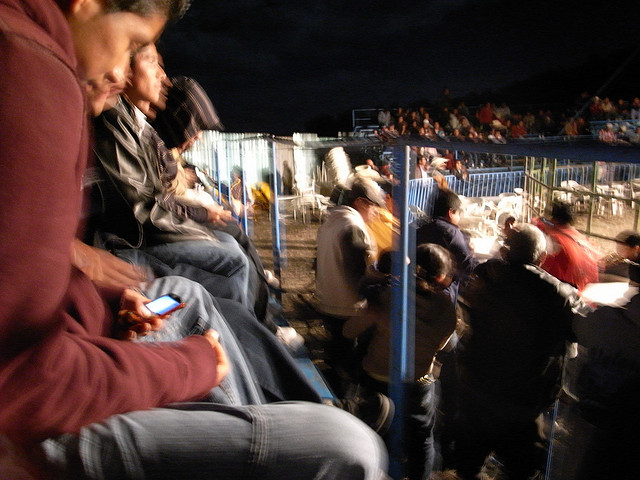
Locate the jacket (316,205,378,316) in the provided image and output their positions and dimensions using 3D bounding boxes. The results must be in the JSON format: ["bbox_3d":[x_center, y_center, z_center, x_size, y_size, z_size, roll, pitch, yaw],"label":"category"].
[{"bbox_3d":[0.172,0.144,2.978,0.394,0.691,0.770,-1,2,-13],"label":"jacket"}]

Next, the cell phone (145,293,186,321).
[{"bbox_3d":[-0.510,0.224,1.506,0.076,0.015,0.142,34,33,33],"label":"cell phone"}]

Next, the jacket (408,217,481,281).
[{"bbox_3d":[0.524,0.029,2.086,0.335,0.258,0.124,26,-47,-25],"label":"jacket"}]

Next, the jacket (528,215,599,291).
[{"bbox_3d":[1.016,0.062,1.927,0.265,0.321,0.182,7,-25,-36],"label":"jacket"}]

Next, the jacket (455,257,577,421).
[{"bbox_3d":[0.743,0.427,1.895,0.569,0.654,0.391,8,7,5],"label":"jacket"}]

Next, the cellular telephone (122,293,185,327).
[{"bbox_3d":[-0.541,0.229,1.478,0.104,0.023,0.224,24,33,38],"label":"cellular telephone"}]

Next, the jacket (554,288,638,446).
[{"bbox_3d":[0.932,0.413,1.542,0.214,0.466,0.326,4,9,31],"label":"jacket"}]

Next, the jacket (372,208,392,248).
[{"bbox_3d":[0.349,-0.064,2.531,0.068,0.220,0.255,-2,8,-7],"label":"jacket"}]

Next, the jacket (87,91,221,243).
[{"bbox_3d":[-0.588,-0.296,1.859,0.173,0.523,0.391,-25,36,-7],"label":"jacket"}]
